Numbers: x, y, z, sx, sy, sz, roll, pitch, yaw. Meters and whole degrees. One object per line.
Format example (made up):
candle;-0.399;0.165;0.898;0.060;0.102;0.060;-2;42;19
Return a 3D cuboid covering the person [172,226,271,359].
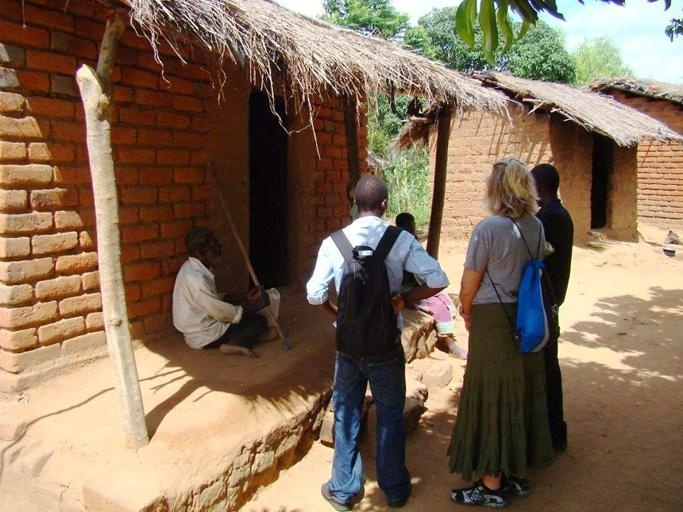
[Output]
person;-1.097;0.332;4.930;0.910;1.178;0.902;-6;12;-34

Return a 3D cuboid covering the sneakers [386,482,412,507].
sneakers;0.421;1.767;3.819;0.095;0.118;0.260;1;8;21

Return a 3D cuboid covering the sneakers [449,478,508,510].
sneakers;0.990;1.742;3.819;0.429;0.194;0.157;3;-3;12

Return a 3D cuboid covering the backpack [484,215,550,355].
backpack;1.308;0.217;3.578;0.266;0.938;0.260;-3;11;-2
